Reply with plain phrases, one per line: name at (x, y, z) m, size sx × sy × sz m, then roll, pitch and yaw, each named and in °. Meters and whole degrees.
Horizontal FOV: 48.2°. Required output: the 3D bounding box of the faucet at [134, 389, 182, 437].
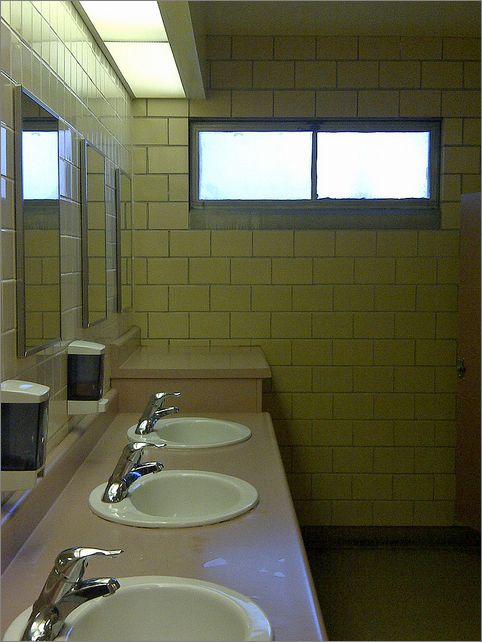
faucet at (-0.307, 0.323, 1.916) m, size 0.156 × 0.169 × 0.067 m, roll 5°, pitch 25°, yaw 4°

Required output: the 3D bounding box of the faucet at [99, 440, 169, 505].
faucet at (-0.280, 0.368, 1.339) m, size 0.134 × 0.124 × 0.144 m, roll -1°, pitch 2°, yaw -24°
